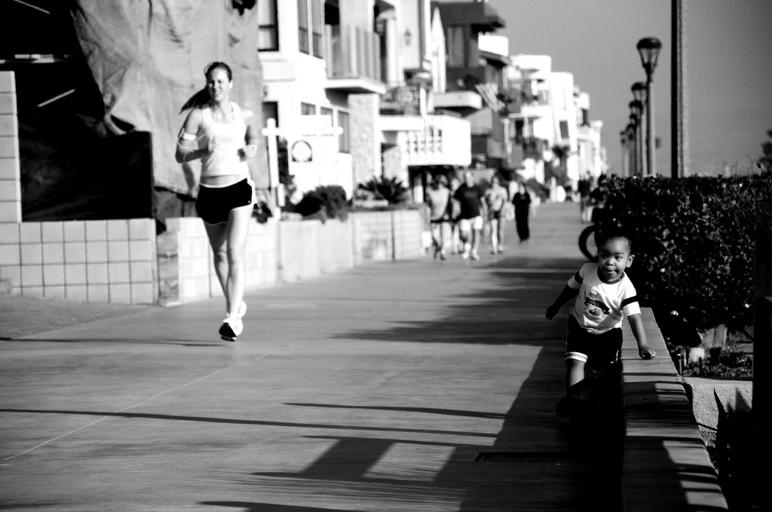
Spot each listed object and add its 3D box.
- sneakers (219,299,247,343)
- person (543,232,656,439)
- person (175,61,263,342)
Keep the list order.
[{"bbox_3d":[-1.626,0.658,14.044,0.200,0.260,0.546,8,43,5],"label":"sneakers"},{"bbox_3d":[1.786,0.528,10.719,0.851,1.521,1.434,0,8,11],"label":"person"},{"bbox_3d":[-1.797,-0.570,14.001,0.834,3.018,0.741,-2,7,-5],"label":"person"}]
